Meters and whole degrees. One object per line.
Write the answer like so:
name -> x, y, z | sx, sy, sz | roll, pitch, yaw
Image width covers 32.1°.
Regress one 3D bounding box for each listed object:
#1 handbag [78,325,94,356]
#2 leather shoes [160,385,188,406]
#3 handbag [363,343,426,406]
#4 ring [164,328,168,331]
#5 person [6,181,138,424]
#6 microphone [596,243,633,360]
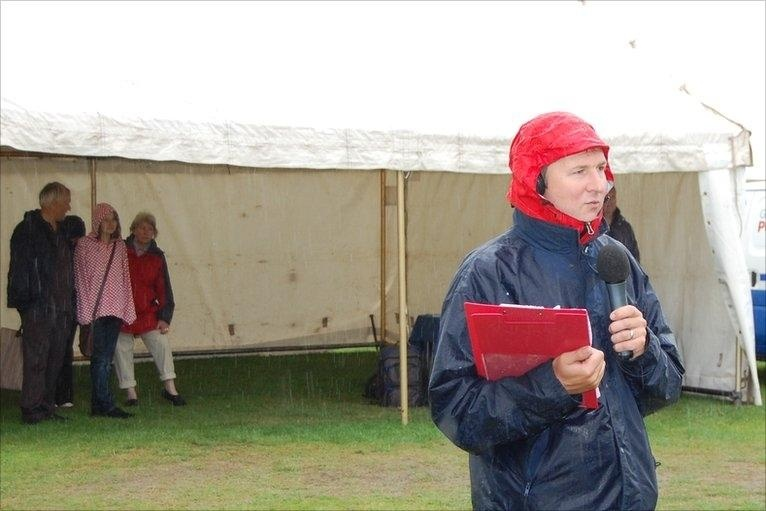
handbag -> -3.249, 0.921, 14.792 | 0.101, 0.308, 0.228 | 4, -1, -6
leather shoes -> -2.469, 1.666, 15.804 | 0.358, 0.131, 0.131 | 28, 11, 25
handbag -> 0.159, 1.376, 15.701 | 0.545, 0.766, 0.720 | 0, -16, 1
ring -> -2.472, 0.845, 15.426 | 0.035, 0.034, 0.034 | -1, 8, 0
person -> -3.672, 0.524, 14.677 | 0.841, 2.605, 0.429 | -6, 13, -27
microphone -> 1.697, 0.154, 9.890 | 0.238, 0.464, 0.213 | 2, 12, 10
